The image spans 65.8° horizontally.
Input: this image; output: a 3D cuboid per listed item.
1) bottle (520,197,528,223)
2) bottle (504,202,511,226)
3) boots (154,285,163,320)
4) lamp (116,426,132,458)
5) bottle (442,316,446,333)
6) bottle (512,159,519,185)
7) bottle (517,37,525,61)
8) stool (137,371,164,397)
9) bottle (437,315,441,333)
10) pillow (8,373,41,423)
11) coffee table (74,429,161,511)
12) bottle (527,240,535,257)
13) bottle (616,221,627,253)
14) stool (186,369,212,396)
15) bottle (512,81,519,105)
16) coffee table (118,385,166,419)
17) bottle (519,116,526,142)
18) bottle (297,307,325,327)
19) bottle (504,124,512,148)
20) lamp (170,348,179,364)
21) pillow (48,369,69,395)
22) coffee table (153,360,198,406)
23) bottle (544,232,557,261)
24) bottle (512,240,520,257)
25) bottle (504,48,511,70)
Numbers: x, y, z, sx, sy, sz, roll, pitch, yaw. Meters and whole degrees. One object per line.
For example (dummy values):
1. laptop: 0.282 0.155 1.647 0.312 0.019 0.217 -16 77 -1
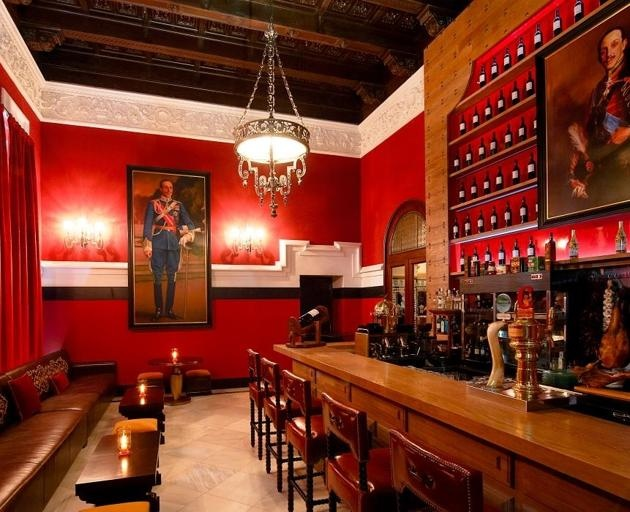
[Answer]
1. bottle: 2.488 -0.546 5.799 0.078 0.315 0.159 0 0 30
2. bottle: 2.376 -0.509 5.997 0.086 0.300 0.294 0 -1 21
3. boots: -2.798 0.798 8.722 0.127 0.507 0.056 0 0 -22
4. lamp: -1.688 1.637 4.322 0.171 0.300 0.172 1 -1 -30
5. bottle: 1.747 0.953 6.591 0.051 0.182 0.132 0 0 11
6. bottle: 2.421 -1.007 5.871 0.084 0.288 0.156 0 0 24
7. bottle: 2.412 -2.417 5.721 0.095 0.302 0.244 0 0 23
8. stool: -2.435 1.912 7.222 0.405 0.391 0.432 2 -10 -11
9. bottle: 1.714 0.943 6.691 0.076 0.225 0.240 0 -1 11
10. pillow: -3.250 1.595 5.475 0.107 0.395 0.386 -12 15 6
11. coffee table: -1.656 1.886 4.184 0.583 0.504 0.952 0 -1 -16
12. bottle: 2.503 -0.095 5.639 0.092 0.212 0.237 -1 -1 25
13. bottle: 2.878 -0.186 4.587 0.096 0.353 0.346 0 -1 33
14. stool: -2.030 2.205 8.492 0.381 0.385 0.398 1 -6 -17
15. bottle: 2.397 -1.957 5.827 0.096 0.294 0.064 -1 0 39
16. coffee table: -2.251 1.871 6.337 0.516 0.307 0.967 0 -1 -20
17. bottle: 2.463 -1.499 5.790 0.091 0.303 0.199 0 0 21
18. bottle: -0.013 0.732 6.039 0.156 0.179 0.429 -29 -11 31
19. bottle: 2.381 -1.461 5.999 0.091 0.284 0.190 0 0 21
20. lamp: -2.369 1.694 8.188 0.160 0.301 0.161 -4 6 -37
21. pillow: -3.557 1.781 6.753 0.061 0.231 0.218 -20 15 13
22. coffee table: -2.360 2.056 8.215 0.731 0.603 0.726 1 -2 -41
23. bottle: 2.498 -0.096 5.178 0.099 0.325 0.509 0 -1 27
24. bottle: 2.424 -0.095 5.878 0.083 0.211 0.219 0 -1 23
25. bottle: 2.311 -2.380 5.872 0.085 0.294 0.233 0 0 22
